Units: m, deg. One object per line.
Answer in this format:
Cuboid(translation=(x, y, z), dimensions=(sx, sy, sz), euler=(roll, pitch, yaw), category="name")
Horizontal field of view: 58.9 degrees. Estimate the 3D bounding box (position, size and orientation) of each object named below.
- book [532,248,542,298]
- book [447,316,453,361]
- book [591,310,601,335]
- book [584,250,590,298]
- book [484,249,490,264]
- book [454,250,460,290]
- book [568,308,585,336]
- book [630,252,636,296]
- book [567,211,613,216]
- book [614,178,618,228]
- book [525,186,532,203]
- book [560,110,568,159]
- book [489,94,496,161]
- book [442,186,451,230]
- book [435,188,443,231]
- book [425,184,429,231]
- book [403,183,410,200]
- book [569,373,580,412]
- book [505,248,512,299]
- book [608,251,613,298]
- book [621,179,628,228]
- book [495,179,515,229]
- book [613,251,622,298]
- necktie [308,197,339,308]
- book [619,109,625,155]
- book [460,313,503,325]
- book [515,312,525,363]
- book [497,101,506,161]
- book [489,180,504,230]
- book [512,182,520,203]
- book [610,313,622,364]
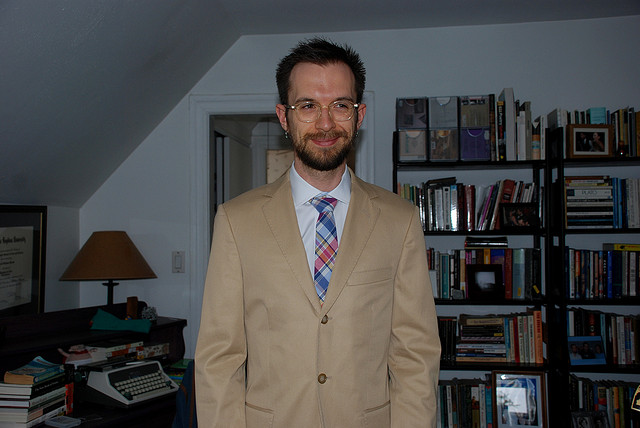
Cuboid(translation=(1.621, 0.434, 4.237), dimensions=(0.072, 0.363, 0.035), euler=(1, -6, -2), category="book")
Cuboid(translation=(0.967, 0.929, 4.218), dimensions=(0.039, 0.299, 0.027), euler=(0, -6, 0), category="book")
Cuboid(translation=(2.038, 0.799, 4.188), dimensions=(0.028, 0.121, 0.112), euler=(3, -3, 9), category="book")
Cuboid(translation=(1.962, 0.434, 4.172), dimensions=(0.037, 0.344, 0.029), euler=(1, -6, -2), category="book")
Cuboid(translation=(1.257, 0.308, 4.273), dimensions=(0.038, 0.109, 0.008), euler=(0, -6, 2), category="book")
Cuboid(translation=(1.034, 0.412, 4.282), dimensions=(0.039, 0.287, 0.018), euler=(0, -6, 1), category="book")
Cuboid(translation=(1.927, 0.805, 4.257), dimensions=(0.113, 0.167, 0.172), euler=(1, -2, 6), category="book")
Cuboid(translation=(2.286, 0.434, 4.152), dimensions=(0.045, 0.310, 0.028), euler=(-2, -7, 21), category="book")
Cuboid(translation=(1.977, -0.013, 4.162), dimensions=(0.316, 0.033, 0.030), euler=(-1, -7, 9), category="book")
Cuboid(translation=(2.174, -0.092, 4.169), dimensions=(0.024, 0.356, 0.018), euler=(2, -6, -11), category="book")
Cuboid(translation=(1.562, -0.167, 4.252), dimensions=(0.019, 0.086, 0.088), euler=(7, -1, -2), category="book")
Cuboid(translation=(1.813, -0.606, 4.211), dimensions=(0.046, 0.371, 0.061), euler=(-3, -7, 31), category="book")
Cuboid(translation=(1.289, -0.658, 4.229), dimensions=(0.042, 0.476, 0.074), euler=(-2, -7, 17), category="book")
Cuboid(translation=(0.959, -0.056, 4.291), dimensions=(0.060, 0.316, 0.042), euler=(-1, -6, 10), category="book")
Cuboid(translation=(0.900, -0.047, 4.294), dimensions=(0.056, 0.308, 0.029), euler=(0, -6, 5), category="book")
Cuboid(translation=(0.812, -0.066, 4.303), dimensions=(0.028, 0.337, 0.026), euler=(0, -6, 3), category="book")
Cuboid(translation=(0.662, -0.188, 4.344), dimensions=(0.042, 0.121, 0.057), euler=(3, -7, -23), category="book")
Cuboid(translation=(1.863, 1.308, 4.131), dimensions=(0.036, 0.173, 0.164), euler=(-1, -5, 8), category="book")
Cuboid(translation=(1.414, 0.438, 4.255), dimensions=(0.054, 0.369, 0.044), euler=(0, -6, 1), category="book")
Cuboid(translation=(2.128, 0.437, 4.159), dimensions=(0.036, 0.333, 0.036), euler=(0, -6, 4), category="book")
Cuboid(translation=(2.234, -0.088, 4.162), dimensions=(0.040, 0.348, 0.018), euler=(0, -6, 5), category="book")
Cuboid(translation=(1.400, -0.090, 4.261), dimensions=(0.062, 0.297, 0.284), euler=(8, -1, 4), category="book")
Cuboid(translation=(2.181, 0.433, 4.162), dimensions=(0.066, 0.334, 0.037), euler=(1, -6, -7), category="book")
Cuboid(translation=(0.018, 0.171, 2.809), dimensions=(0.142, 0.536, 0.061), euler=(1, -6, -4), category="necktie")
Cuboid(translation=(2.226, -0.615, 4.187), dimensions=(0.032, 0.330, 0.025), euler=(0, -6, 6), category="book")
Cuboid(translation=(1.217, 0.789, 4.288), dimensions=(0.308, 0.074, 0.152), euler=(-2, -8, 14), category="book")
Cuboid(translation=(1.499, 0.933, 4.232), dimensions=(0.050, 0.244, 0.231), euler=(1, -5, 9), category="book")
Cuboid(translation=(1.353, -0.626, 4.227), dimensions=(0.054, 0.438, 0.086), euler=(-2, -7, 19), category="book")
Cuboid(translation=(1.328, -0.076, 4.257), dimensions=(0.109, 0.366, 0.037), euler=(0, -6, 4), category="book")
Cuboid(translation=(1.475, -0.167, 4.270), dimensions=(0.017, 0.182, 0.129), euler=(15, -8, 8), category="book")
Cuboid(translation=(2.176, 0.917, 4.140), dimensions=(0.052, 0.249, 0.226), euler=(1, -3, 11), category="book")
